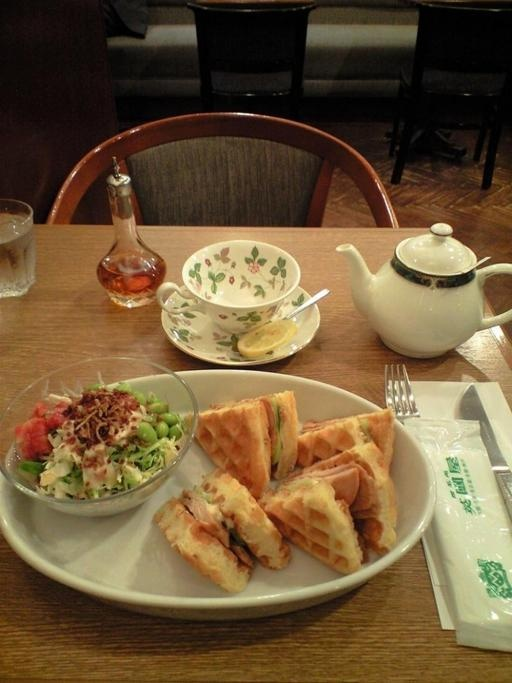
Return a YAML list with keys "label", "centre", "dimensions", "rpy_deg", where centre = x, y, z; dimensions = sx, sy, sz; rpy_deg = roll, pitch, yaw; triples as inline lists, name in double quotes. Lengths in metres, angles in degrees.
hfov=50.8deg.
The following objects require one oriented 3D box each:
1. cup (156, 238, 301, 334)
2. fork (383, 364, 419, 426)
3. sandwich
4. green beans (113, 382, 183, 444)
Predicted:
- label: "cup"
  centre: [-0.025, -0.113, 0.914]
  dimensions: [0.246, 0.093, 0.174]
  rpy_deg: [-13, 48, -15]
- label: "fork"
  centre: [0.213, 0.075, 0.786]
  dimensions: [0.036, 0.017, 0.124]
  rpy_deg: [1, 34, 3]
- label: "sandwich"
  centre: [0.036, 0.161, 0.594]
  dimensions: [0.208, 0.071, 0.213]
  rpy_deg: [-33, 41, -25]
- label: "green beans"
  centre: [-0.128, 0.088, 0.674]
  dimensions: [0.057, 0.048, 0.023]
  rpy_deg: [40, 94, 10]
